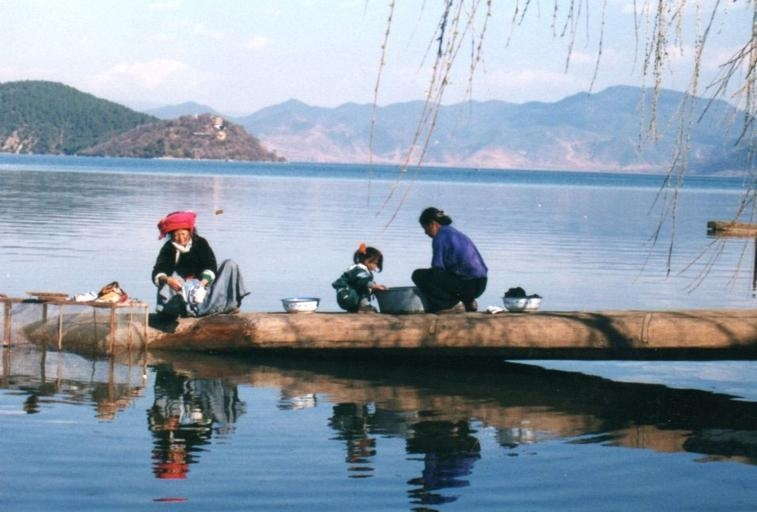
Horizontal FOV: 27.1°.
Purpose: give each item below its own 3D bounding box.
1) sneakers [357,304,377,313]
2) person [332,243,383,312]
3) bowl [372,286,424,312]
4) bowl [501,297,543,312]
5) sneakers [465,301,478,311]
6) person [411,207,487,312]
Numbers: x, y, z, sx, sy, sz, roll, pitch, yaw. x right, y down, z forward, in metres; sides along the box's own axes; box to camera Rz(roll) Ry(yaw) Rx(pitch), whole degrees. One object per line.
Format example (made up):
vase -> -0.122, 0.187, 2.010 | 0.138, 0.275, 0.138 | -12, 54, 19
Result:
sneakers -> -0.220, 0.902, 28.321 | 0.348, 0.163, 0.146 | -3, 2, -2
person -> -0.296, 0.251, 28.655 | 1.048, 0.955, 1.011 | 6, 11, 16
bowl -> 0.346, 0.729, 27.875 | 0.880, 0.510, 0.241 | 5, 5, 23
bowl -> 2.503, 0.790, 27.806 | 0.609, 0.282, 0.110 | 4, 5, 6
sneakers -> 1.604, 0.845, 28.091 | 0.240, 0.129, 0.246 | 14, -9, -28
person -> 1.257, 0.033, 27.906 | 1.301, 1.852, 0.539 | 5, 6, 0
